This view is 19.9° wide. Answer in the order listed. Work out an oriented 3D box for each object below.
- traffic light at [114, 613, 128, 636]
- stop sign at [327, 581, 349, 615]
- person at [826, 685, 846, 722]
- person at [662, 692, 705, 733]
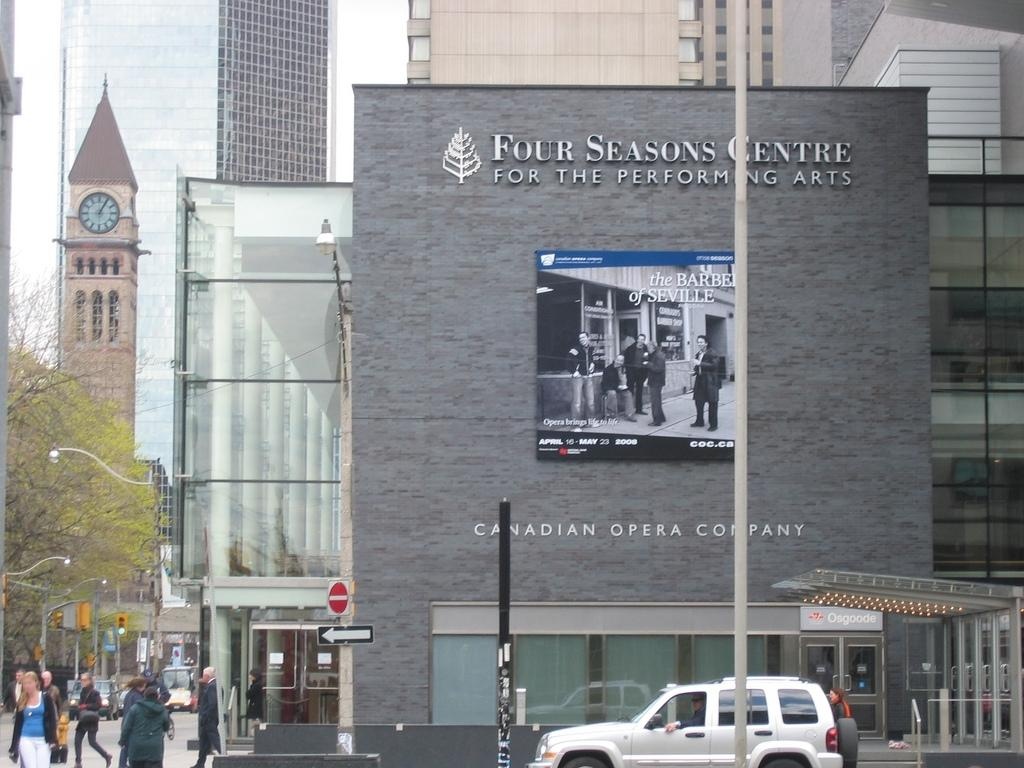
[{"bbox_3d":[-15.126,9.178,112.377,0.276,0.875,1.516,0,-9,-11],"label":"traffic light"},{"bbox_3d":[-5.009,6.044,83.278,0.507,1.004,1.717,-1,-9,-5],"label":"stop sign"},{"bbox_3d":[9.146,8.999,82.224,0.488,1.105,0.354,-15,-15,37],"label":"person"},{"bbox_3d":[4.641,9.020,80.360,1.261,1.208,0.855,1,-13,6],"label":"person"}]
